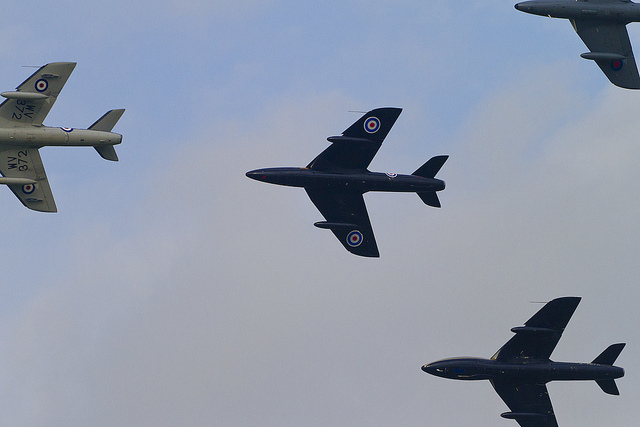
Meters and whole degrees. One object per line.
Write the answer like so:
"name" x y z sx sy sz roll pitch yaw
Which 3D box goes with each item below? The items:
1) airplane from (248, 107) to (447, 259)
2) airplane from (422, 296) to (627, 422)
"airplane" 1.000 -1.360 59.657 11.596 6.831 6.011 -4 -2 30
"airplane" 8.635 5.864 58.106 6.691 4.476 2.401 -5 -25 9
